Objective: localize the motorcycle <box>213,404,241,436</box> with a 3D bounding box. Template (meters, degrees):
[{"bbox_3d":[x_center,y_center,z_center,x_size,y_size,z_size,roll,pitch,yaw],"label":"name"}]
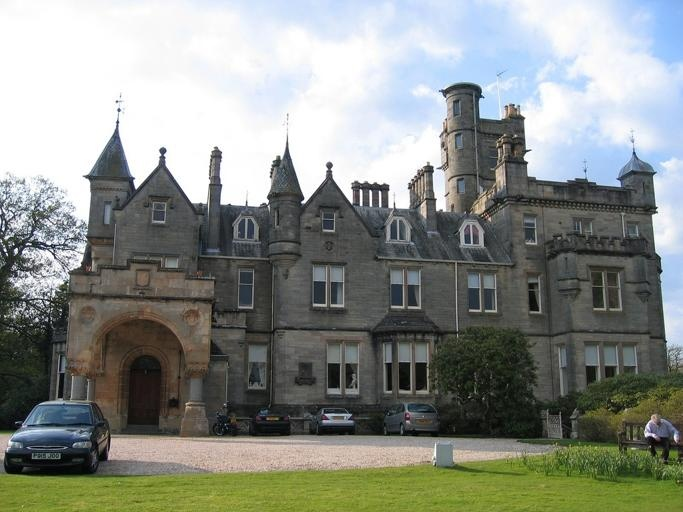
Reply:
[{"bbox_3d":[-5.476,7.861,40.315,0.791,1.187,1.878,12,-16,-39],"label":"motorcycle"}]

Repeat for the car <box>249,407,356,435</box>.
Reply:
[{"bbox_3d":[-1.938,7.990,41.493,4.912,1.503,2.556,3,-16,-12],"label":"car"}]

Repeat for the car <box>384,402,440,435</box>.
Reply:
[{"bbox_3d":[3.247,7.733,40.761,1.467,1.065,2.452,3,-8,-16],"label":"car"}]
